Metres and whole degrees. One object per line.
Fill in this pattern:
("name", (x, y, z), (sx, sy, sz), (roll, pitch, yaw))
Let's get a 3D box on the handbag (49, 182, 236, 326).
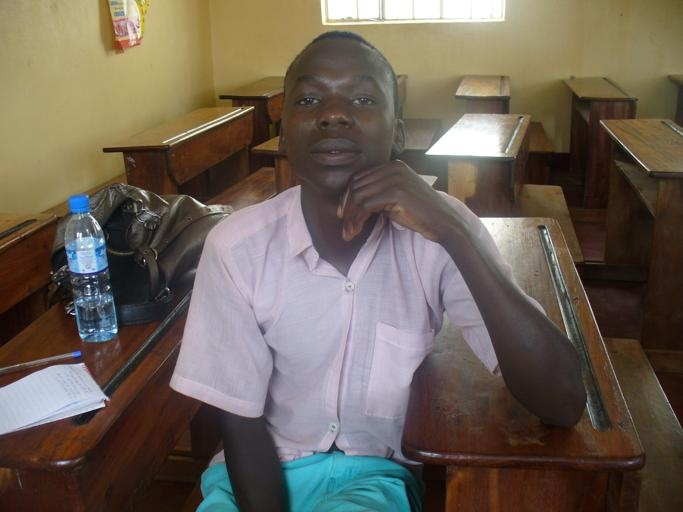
("handbag", (-0.772, -0.037, 1.936), (0.569, 0.502, 0.186), (-1, -18, 17))
